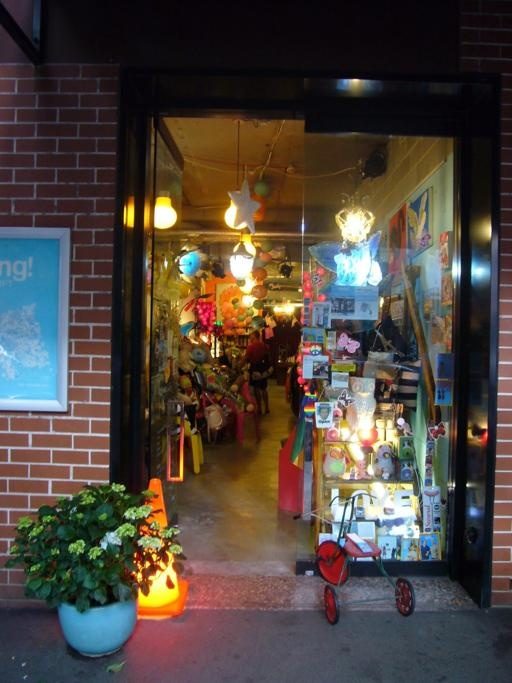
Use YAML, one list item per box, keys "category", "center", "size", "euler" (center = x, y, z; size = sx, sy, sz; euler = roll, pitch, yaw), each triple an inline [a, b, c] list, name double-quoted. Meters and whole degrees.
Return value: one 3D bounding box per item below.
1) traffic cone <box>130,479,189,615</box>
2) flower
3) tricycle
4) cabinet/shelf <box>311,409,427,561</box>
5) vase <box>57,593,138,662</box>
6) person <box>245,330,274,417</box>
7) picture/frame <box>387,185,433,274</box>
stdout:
- category: "traffic cone"
  center: [-0.492, 1.058, 2.992]
  size: [0.257, 0.594, 0.289]
  euler: [2, 7, -8]
- category: "flower"
  center: [-0.713, 0.947, 2.633]
  size: [0.747, 0.540, 0.449]
  euler: [1, -2, -7]
- category: "tricycle"
  center: [0.588, 1.135, 3.126]
  size: [0.503, 0.578, 0.736]
  euler: [0, -2, 4]
- category: "cabinet/shelf"
  center: [0.688, 0.824, 3.653]
  size: [0.567, 0.972, 0.527]
  euler: [0, 6, -8]
- category: "vase"
  center: [-0.688, 1.249, 2.505]
  size: [0.265, 0.207, 0.286]
  euler: [1, 3, -15]
- category: "person"
  center: [0.068, 0.603, 10.330]
  size: [0.395, 1.571, 0.473]
  euler: [2, 6, -13]
- category: "picture/frame"
  center: [0.976, -0.697, 3.682]
  size: [0.278, 0.561, 0.169]
  euler: [0, -2, 7]
